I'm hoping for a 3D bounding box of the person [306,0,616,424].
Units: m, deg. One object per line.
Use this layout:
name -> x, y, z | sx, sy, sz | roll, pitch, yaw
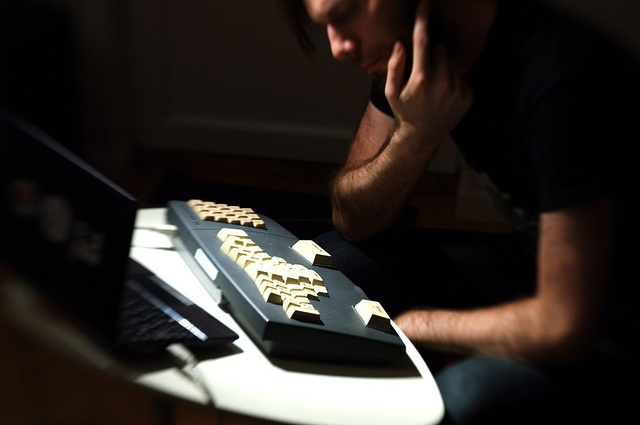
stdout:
person -> 0.306, -0.066, 1.057 | 0.646, 0.511, 0.711 | -9, 98, -15
